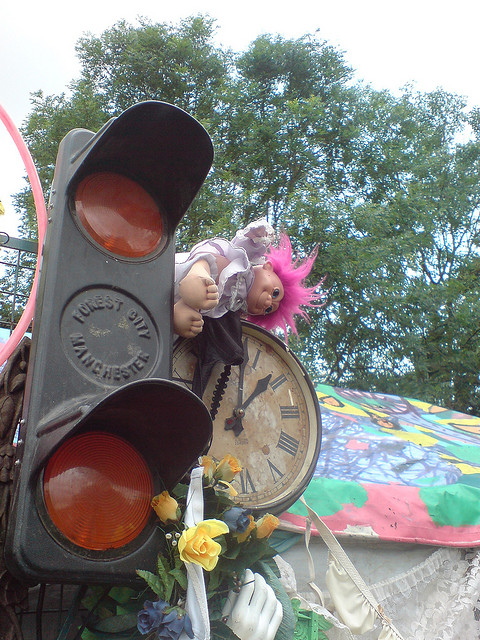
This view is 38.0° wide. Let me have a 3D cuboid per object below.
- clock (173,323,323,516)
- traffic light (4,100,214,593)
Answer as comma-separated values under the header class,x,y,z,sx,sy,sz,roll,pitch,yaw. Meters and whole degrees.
class,x,y,z,sx,sy,sz,roll,pitch,yaw
clock,0.100,0.437,3.025,0.185,0.718,0.711,-16,-43,44
traffic light,-0.237,0.071,2.128,0.656,1.527,0.697,9,-12,-12
